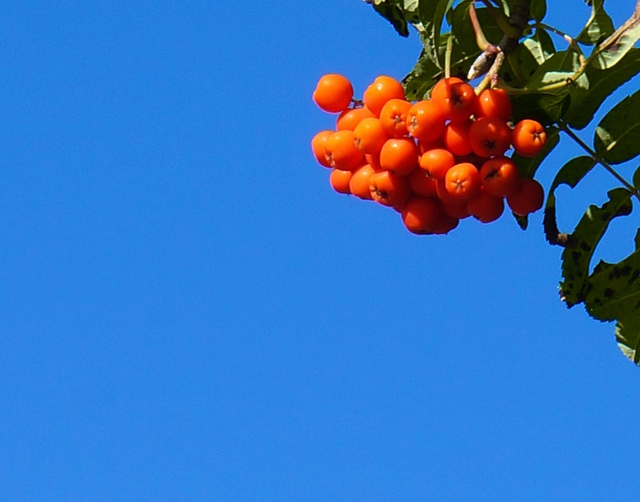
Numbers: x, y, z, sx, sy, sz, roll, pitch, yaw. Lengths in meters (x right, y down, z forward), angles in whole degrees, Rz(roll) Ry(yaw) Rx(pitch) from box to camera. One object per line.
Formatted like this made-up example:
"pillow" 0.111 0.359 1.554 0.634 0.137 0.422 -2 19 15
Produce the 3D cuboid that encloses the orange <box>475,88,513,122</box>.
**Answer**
"orange" 0.481 -0.403 3.318 0.088 0.091 0.115 18 -76 32

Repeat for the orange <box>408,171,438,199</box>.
"orange" 0.286 -0.195 3.350 0.068 0.066 0.083 -14 -60 -46

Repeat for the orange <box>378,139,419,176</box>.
"orange" 0.222 -0.269 3.310 0.093 0.115 0.097 0 -33 31

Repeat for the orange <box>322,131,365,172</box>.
"orange" 0.079 -0.289 3.451 0.097 0.139 0.115 -6 -91 0

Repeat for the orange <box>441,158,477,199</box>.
"orange" 0.386 -0.198 3.251 0.091 0.060 0.089 2 -65 -5

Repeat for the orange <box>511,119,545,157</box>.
"orange" 0.585 -0.322 3.350 0.091 0.099 0.097 0 -37 -2

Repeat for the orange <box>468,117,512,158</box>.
"orange" 0.467 -0.316 3.239 0.109 0.040 0.101 15 -67 -11

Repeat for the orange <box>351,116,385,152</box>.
"orange" 0.136 -0.330 3.313 0.069 0.092 0.076 18 -86 -37

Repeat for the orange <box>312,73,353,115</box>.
"orange" 0.040 -0.475 3.518 0.111 0.115 0.144 -2 -96 4

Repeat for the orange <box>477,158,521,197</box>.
"orange" 0.510 -0.208 3.310 0.100 0.123 0.106 -43 -96 9
